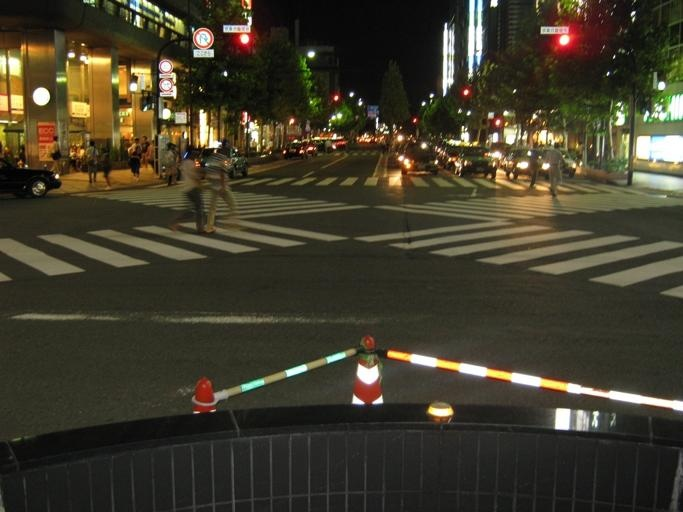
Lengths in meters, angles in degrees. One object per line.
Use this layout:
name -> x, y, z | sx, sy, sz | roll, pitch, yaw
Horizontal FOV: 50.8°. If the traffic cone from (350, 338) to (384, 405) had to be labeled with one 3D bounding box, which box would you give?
traffic cone -> 0.206, 0.880, 5.461 | 0.218, 0.602, 0.501 | 1, 8, 2
